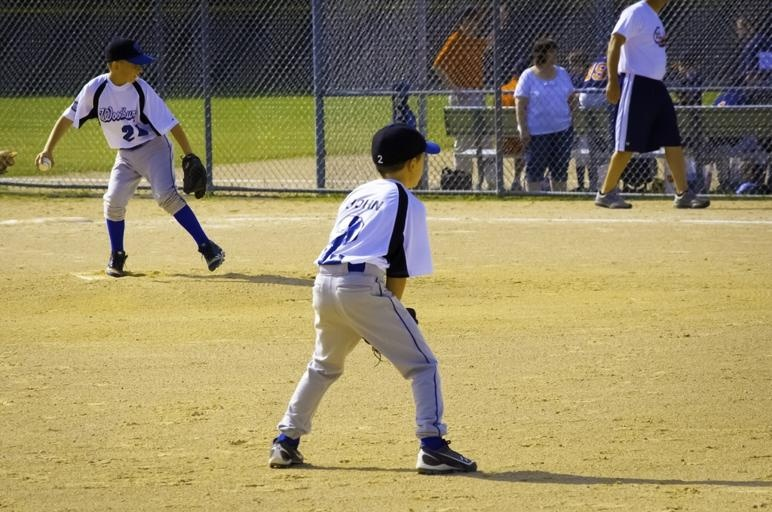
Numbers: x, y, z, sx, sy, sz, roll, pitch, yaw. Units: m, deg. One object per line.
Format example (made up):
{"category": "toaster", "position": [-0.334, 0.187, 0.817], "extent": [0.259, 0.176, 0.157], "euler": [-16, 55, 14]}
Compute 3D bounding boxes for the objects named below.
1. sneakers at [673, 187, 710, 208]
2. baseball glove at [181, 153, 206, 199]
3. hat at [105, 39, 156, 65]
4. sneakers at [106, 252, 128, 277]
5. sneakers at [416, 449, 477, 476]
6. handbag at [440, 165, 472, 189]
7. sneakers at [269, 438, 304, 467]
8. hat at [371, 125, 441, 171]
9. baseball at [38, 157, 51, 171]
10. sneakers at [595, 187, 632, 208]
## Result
{"category": "sneakers", "position": [3.317, -0.601, 16.026], "extent": [0.349, 0.153, 0.188], "euler": [2, 4, 30]}
{"category": "baseball glove", "position": [-1.948, -0.814, 14.902], "extent": [0.214, 0.454, 0.224], "euler": [-25, 47, -23]}
{"category": "hat", "position": [-2.505, -1.959, 14.307], "extent": [0.386, 0.192, 0.244], "euler": [-8, 17, -8]}
{"category": "sneakers", "position": [-2.640, 0.090, 14.438], "extent": [0.220, 0.238, 0.209], "euler": [-4, 9, -30]}
{"category": "sneakers", "position": [0.452, 1.613, 11.439], "extent": [0.543, 0.256, 0.176], "euler": [-1, -1, -4]}
{"category": "handbag", "position": [0.837, -0.933, 17.814], "extent": [0.285, 0.276, 0.082], "euler": [-3, 2, 20]}
{"category": "sneakers", "position": [-0.799, 1.561, 11.528], "extent": [0.138, 0.146, 0.307], "euler": [1, 1, 7]}
{"category": "hat", "position": [0.149, -0.849, 11.560], "extent": [0.447, 0.250, 0.304], "euler": [-25, 23, -15]}
{"category": "baseball", "position": [-3.354, -0.874, 14.425], "extent": [0.134, 0.130, 0.127], "euler": [-10, 17, 2]}
{"category": "sneakers", "position": [2.456, -0.608, 16.027], "extent": [0.189, 0.160, 0.367], "euler": [-2, 4, -41]}
